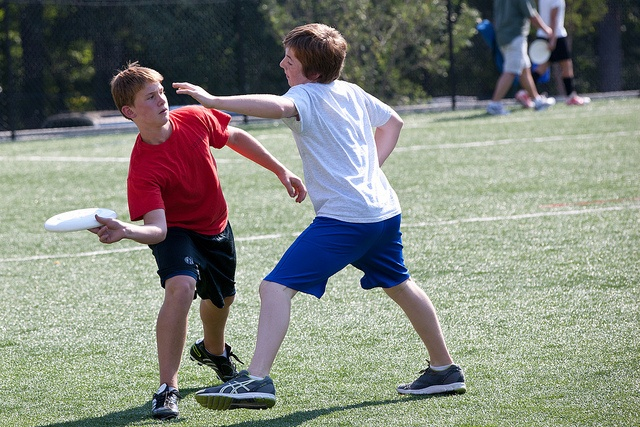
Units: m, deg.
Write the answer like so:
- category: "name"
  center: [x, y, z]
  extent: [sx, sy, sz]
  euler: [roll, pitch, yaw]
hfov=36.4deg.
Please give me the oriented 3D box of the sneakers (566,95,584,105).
- category: "sneakers"
  center: [4.235, -1.853, 16.074]
  extent: [0.138, 0.162, 0.400]
  euler: [5, 9, 15]

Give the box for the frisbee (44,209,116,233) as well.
- category: "frisbee"
  center: [-1.698, 0.053, 6.950]
  extent: [0.466, 0.153, 0.241]
  euler: [3, 8, 15]
